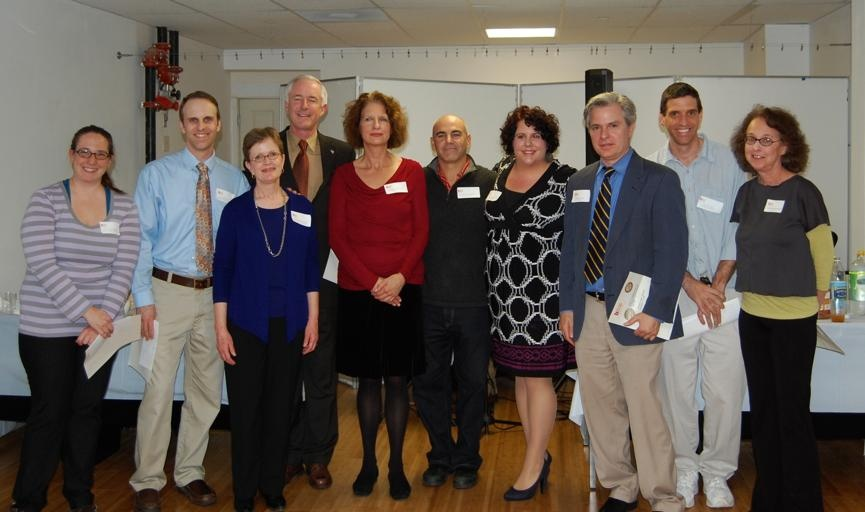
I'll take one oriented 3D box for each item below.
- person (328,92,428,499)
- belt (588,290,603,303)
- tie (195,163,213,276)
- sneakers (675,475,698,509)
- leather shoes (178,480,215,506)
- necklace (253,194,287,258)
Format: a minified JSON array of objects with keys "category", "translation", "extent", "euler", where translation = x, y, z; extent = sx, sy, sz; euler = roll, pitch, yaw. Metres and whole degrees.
[{"category":"person","translation":[-0.400,0.279,5.020],"extent":[0.705,2.922,0.588],"euler":[3,11,14]},{"category":"belt","translation":[1.129,0.274,4.707],"extent":[0.077,0.028,0.055],"euler":[25,-8,-2]},{"category":"tie","translation":[-1.642,-0.268,4.885],"extent":[0.134,0.792,0.189],"euler":[-4,11,-19]},{"category":"sneakers","translation":[1.830,1.693,4.891],"extent":[0.118,0.128,0.300],"euler":[-2,0,18]},{"category":"leather shoes","translation":[-1.685,1.731,4.937],"extent":[0.295,0.125,0.138],"euler":[13,12,28]},{"category":"necklace","translation":[-1.124,-0.192,4.797],"extent":[0.221,0.377,0.131],"euler":[-3,11,-13]}]
